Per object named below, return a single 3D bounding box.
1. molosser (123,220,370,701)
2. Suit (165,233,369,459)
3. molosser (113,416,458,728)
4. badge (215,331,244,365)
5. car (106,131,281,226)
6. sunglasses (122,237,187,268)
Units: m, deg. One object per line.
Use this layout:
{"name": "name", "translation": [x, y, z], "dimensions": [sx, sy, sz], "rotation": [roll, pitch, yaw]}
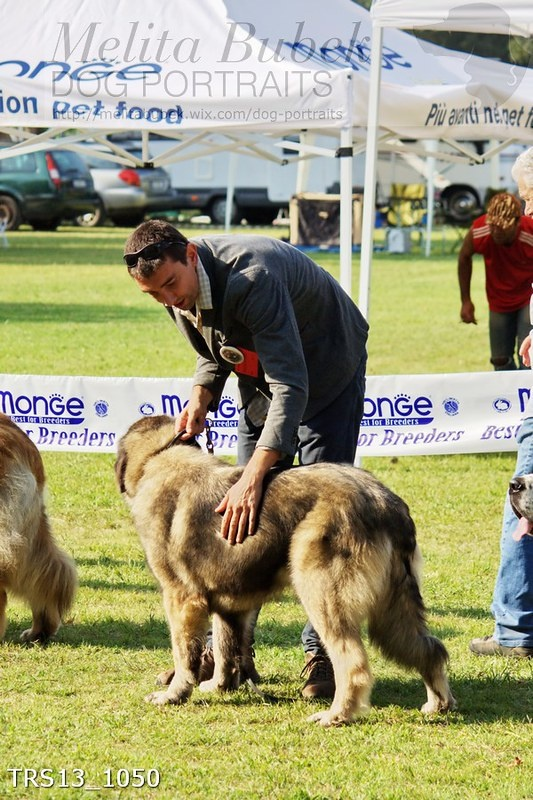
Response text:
{"name": "molosser", "translation": [-0.037, 0.253, 4.609], "dimensions": [0.829, 1.963, 1.195], "rotation": [2, 9, 23]}
{"name": "Suit", "translation": [0.032, -0.281, 4.466], "dimensions": [0.867, 0.872, 0.827], "rotation": [-10, 14, -1]}
{"name": "molosser", "translation": [-0.012, 0.699, 4.318], "dimensions": [1.572, 1.086, 0.499], "rotation": [0, -1, 31]}
{"name": "badge", "translation": [-0.152, -0.204, 4.359], "dimensions": [0.027, 0.112, 0.112], "rotation": [-37, 24, -25]}
{"name": "car", "translation": [-1.787, -5.379, 25.318], "dimensions": [5.303, 2.612, 1.516], "rotation": [2, 11, 20]}
{"name": "sunglasses", "translation": [-0.413, -0.558, 4.035], "dimensions": [0.147, 0.042, 0.146], "rotation": [-20, -5, 34]}
